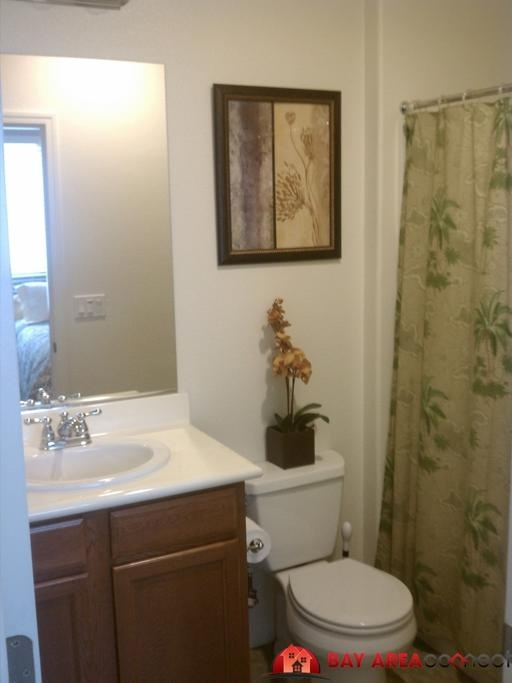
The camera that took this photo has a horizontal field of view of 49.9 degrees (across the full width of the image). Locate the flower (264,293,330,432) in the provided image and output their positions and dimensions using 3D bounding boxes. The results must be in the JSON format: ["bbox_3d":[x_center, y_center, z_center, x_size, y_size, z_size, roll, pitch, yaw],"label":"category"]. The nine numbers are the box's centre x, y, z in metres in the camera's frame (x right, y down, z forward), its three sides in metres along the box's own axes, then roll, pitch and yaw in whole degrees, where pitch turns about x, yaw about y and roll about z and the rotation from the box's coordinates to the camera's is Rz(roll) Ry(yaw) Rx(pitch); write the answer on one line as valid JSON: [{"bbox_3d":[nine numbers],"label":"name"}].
[{"bbox_3d":[0.155,0.095,1.955,0.252,0.479,0.206,2,9,-6],"label":"flower"}]

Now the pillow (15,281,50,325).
[{"bbox_3d":[-0.639,-0.115,1.566,0.104,0.136,0.042,-23,19,-34],"label":"pillow"}]

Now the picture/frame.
[{"bbox_3d":[0.053,-0.590,1.862,0.466,0.750,0.044,-6,10,-29],"label":"picture/frame"}]

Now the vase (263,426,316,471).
[{"bbox_3d":[0.131,0.366,1.923,0.121,0.159,0.130,0,-1,-23],"label":"vase"}]
